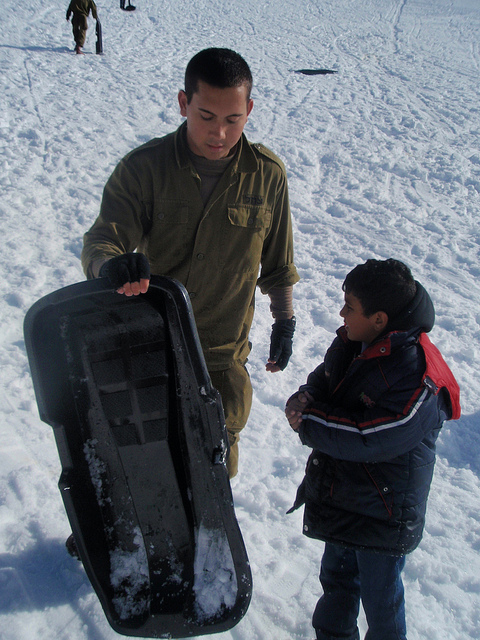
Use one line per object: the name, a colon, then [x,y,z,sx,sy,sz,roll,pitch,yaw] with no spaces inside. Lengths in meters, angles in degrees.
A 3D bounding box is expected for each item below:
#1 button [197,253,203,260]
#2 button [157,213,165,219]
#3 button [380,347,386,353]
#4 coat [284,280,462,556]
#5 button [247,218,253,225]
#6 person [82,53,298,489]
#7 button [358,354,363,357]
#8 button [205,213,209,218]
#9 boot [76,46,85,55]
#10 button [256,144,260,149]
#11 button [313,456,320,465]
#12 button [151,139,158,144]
button: [-0.180,-0.288,2.940,0.035,0.031,0.008,0,2,-14]
button: [-0.348,-0.456,2.872,0.028,0.025,0.007,3,35,-6]
button: [0.593,0.120,2.698,0.025,0.022,0.006,-6,-8,30]
coat: [0.595,0.414,2.919,0.764,1.120,0.742,3,6,-14]
button: [0.048,-0.452,3.004,0.030,0.027,0.014,-20,42,-34]
person: [-0.150,-0.307,2.964,1.048,1.627,0.646,-2,35,-12]
button: [0.519,0.150,2.796,0.009,0.010,0.024,4,16,5]
button: [-0.145,-0.459,2.896,0.003,0.014,0.021,31,40,31]
boot: [-2.826,-4.682,11.442,0.131,0.061,0.176,1,52,53]
button: [0.084,-0.796,3.012,0.006,0.017,0.011,-19,2,42]
button: [0.335,0.602,2.827,0.008,0.027,0.030,7,2,-38]
button: [-0.379,-0.775,2.846,0.022,0.007,0.026,1,41,3]
